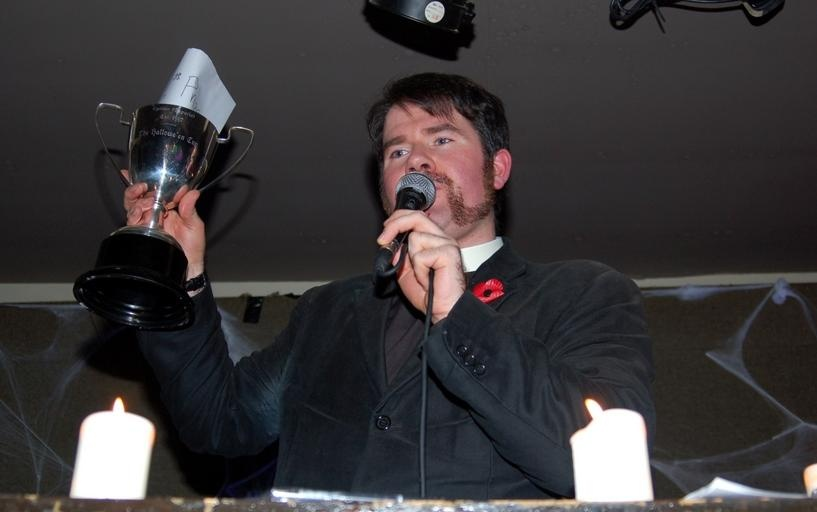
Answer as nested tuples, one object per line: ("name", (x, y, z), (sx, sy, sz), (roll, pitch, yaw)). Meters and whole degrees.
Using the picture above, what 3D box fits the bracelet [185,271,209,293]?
("bracelet", (-0.913, 0.111, 3.018), (0.083, 0.039, 0.078), (-18, 4, -38))

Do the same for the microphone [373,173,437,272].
("microphone", (-0.018, -0.125, 2.743), (0.154, 0.149, 0.500), (7, 41, 20))

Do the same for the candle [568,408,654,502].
("candle", (0.638, 0.652, 2.323), (0.292, 0.313, 0.282), (-4, -14, 15))

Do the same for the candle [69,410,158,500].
("candle", (-0.998, 0.676, 2.362), (0.240, 0.259, 0.199), (3, 4, -22))
